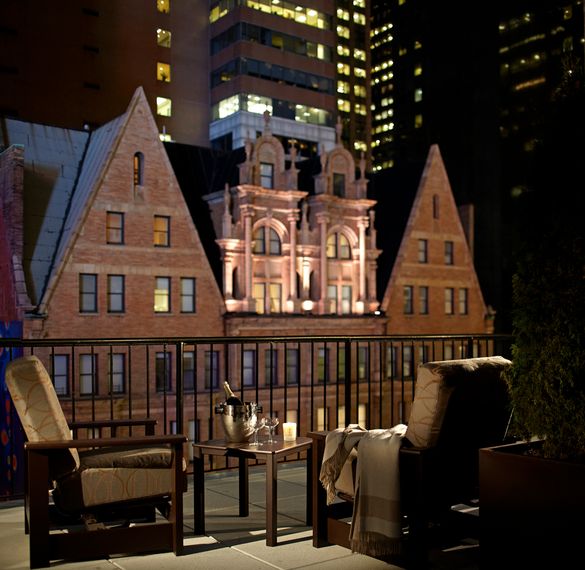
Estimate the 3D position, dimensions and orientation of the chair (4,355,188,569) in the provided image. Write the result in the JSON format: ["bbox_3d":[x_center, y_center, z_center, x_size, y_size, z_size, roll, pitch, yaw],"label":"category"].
[{"bbox_3d":[-1.511,1.532,6.535,1.113,1.582,1.546,0,-1,-17],"label":"chair"}]

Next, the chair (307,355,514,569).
[{"bbox_3d":[0.966,1.254,6.474,1.149,1.984,1.368,3,-6,-37],"label":"chair"}]

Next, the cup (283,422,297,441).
[{"bbox_3d":[-0.040,1.238,6.971,0.118,0.183,0.137,0,-1,14],"label":"cup"}]

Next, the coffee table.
[{"bbox_3d":[-0.340,1.634,6.877,1.083,0.819,1.282,-7,4,-15],"label":"coffee table"}]
